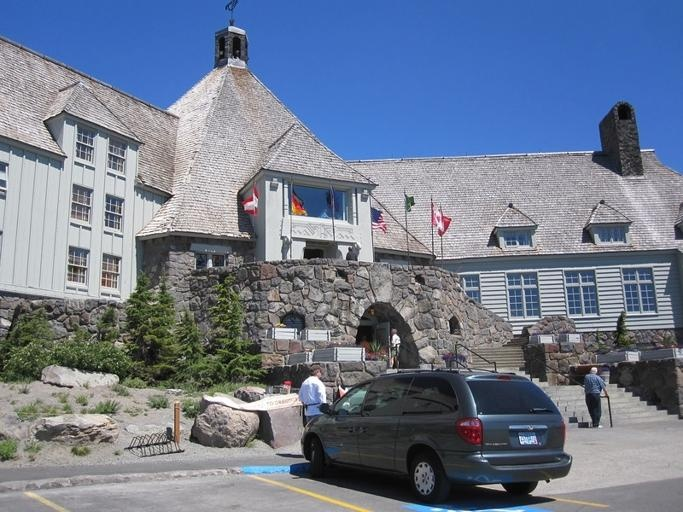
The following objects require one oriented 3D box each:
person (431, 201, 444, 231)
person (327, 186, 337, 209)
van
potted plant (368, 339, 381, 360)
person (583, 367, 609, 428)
[{"bbox_3d":[5.041,-1.952,33.375,0.602,1.310,0.831,1,2,7],"label":"person"},{"bbox_3d":[-0.484,-2.860,31.555,0.442,1.270,1.317,0,2,-2],"label":"person"},{"bbox_3d":[1.533,3.291,13.201,2.433,1.733,4.728,11,-11,-37],"label":"van"},{"bbox_3d":[1.407,3.983,26.821,0.482,0.683,0.493,1,-10,-2],"label":"potted plant"},{"bbox_3d":[8.039,4.589,20.248,0.589,1.713,0.826,1,3,24],"label":"person"}]
